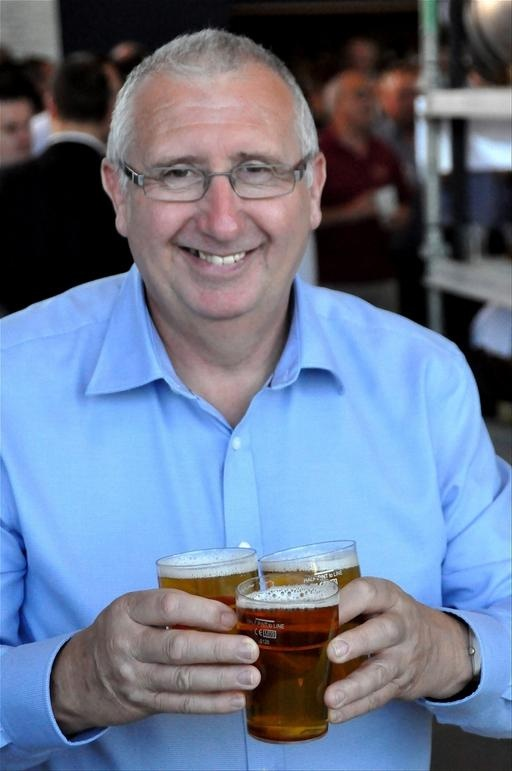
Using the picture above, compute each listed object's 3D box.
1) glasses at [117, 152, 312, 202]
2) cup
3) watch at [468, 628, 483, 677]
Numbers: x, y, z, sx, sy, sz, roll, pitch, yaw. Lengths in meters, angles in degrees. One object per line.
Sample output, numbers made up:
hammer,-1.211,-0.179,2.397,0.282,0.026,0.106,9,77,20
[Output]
glasses,-0.064,-0.312,1.178,0.240,0.064,0.054,-5,26,0
cup,-0.008,0.278,0.867,0.211,0.170,0.229,-3,-8,0
watch,0.297,0.366,1.041,0.015,0.046,0.034,1,-5,-1
